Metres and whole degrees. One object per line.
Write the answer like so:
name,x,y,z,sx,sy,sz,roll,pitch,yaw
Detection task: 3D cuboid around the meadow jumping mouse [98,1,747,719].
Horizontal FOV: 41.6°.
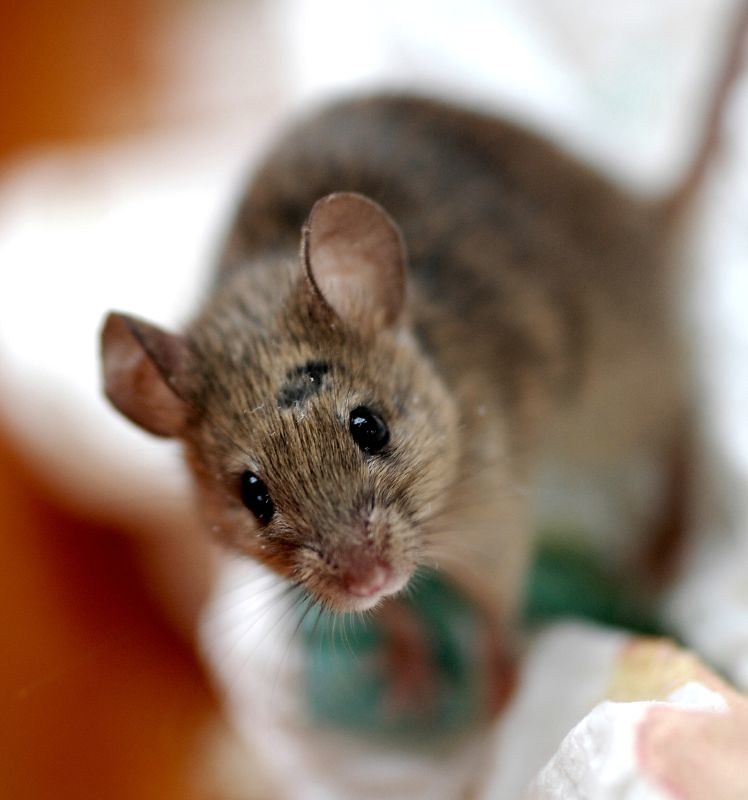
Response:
meadow jumping mouse,0.064,-0.028,1.282,0.251,0.462,0.956,9,56,47
